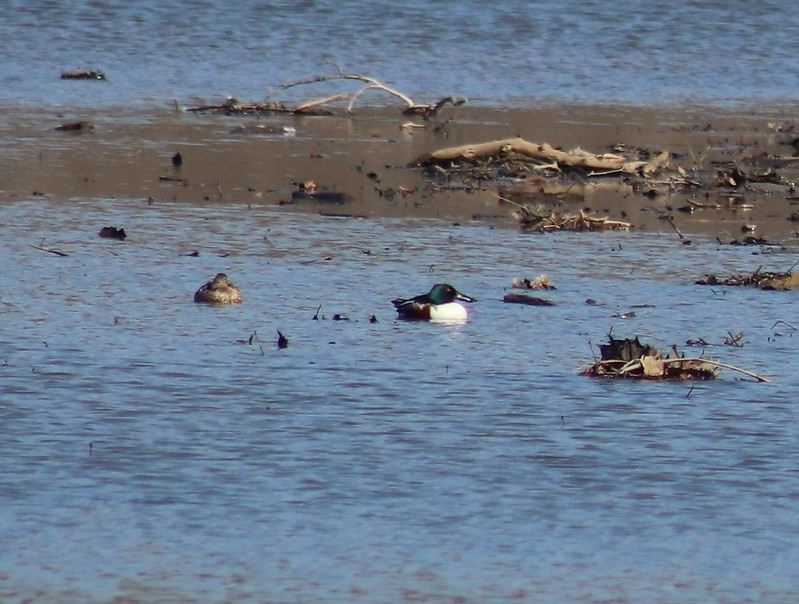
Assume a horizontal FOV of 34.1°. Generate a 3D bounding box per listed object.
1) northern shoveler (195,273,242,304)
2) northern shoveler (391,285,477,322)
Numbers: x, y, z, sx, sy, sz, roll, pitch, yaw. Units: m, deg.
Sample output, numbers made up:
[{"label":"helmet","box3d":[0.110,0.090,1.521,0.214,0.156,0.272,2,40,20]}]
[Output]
[{"label":"northern shoveler","box3d":[-2.237,-0.120,16.153,0.599,0.350,0.438,0,33,-6]},{"label":"northern shoveler","box3d":[0.420,0.049,15.754,1.122,0.408,0.452,1,4,-8]}]
